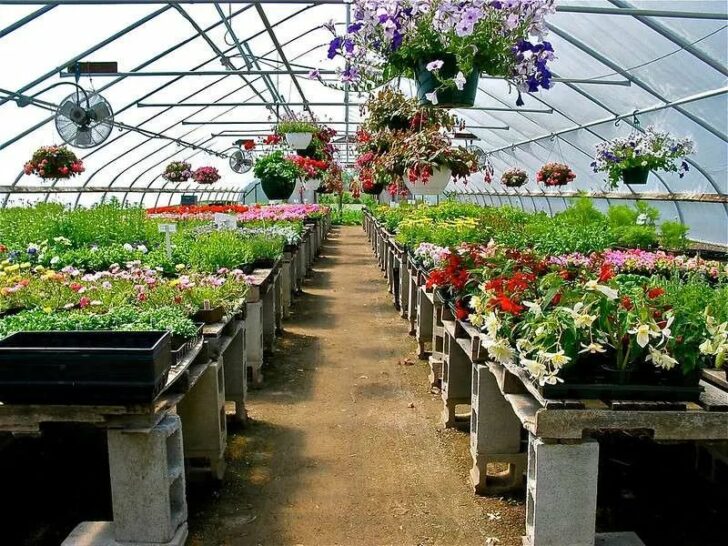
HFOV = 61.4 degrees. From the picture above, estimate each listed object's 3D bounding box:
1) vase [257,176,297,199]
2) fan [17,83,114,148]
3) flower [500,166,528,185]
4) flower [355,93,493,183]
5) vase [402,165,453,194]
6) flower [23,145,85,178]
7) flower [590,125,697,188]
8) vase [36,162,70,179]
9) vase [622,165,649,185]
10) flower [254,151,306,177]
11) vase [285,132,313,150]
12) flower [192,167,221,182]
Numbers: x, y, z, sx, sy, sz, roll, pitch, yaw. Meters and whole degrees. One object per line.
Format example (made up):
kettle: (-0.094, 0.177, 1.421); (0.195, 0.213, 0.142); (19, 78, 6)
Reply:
vase: (-1.072, -1.053, 7.680); (0.371, 0.334, 0.617); (0, 13, -5)
fan: (-3.993, -2.163, 8.237); (1.216, 0.706, 0.875); (7, 20, 19)
flower: (3.067, -1.934, 12.701); (0.479, 0.372, 0.464); (-1, 10, 5)
flower: (0.280, -1.067, 4.763); (0.730, 0.675, 1.139); (-32, 32, -26)
vase: (0.469, -0.674, 4.551); (0.341, 0.217, 0.430); (2, 13, 3)
flower: (-5.118, -1.807, 10.230); (0.678, 0.422, 0.662); (2, 0, -33)
flower: (3.269, -1.321, 7.042); (1.200, 0.803, 1.260); (1, 13, 18)
vase: (-5.170, -1.706, 10.253); (0.514, 0.282, 0.435); (-6, 14, -28)
vase: (3.084, -1.096, 6.969); (0.211, 0.171, 0.212); (3, 4, 6)
flower: (-1.120, -1.297, 7.544); (0.472, 0.288, 0.468); (-3, 7, -37)
vase: (-0.745, -1.525, 7.077); (0.218, 0.121, 0.215); (-1, 1, -41)
flower: (-4.109, -2.512, 15.966); (0.489, 0.386, 0.536); (0, 4, 9)
